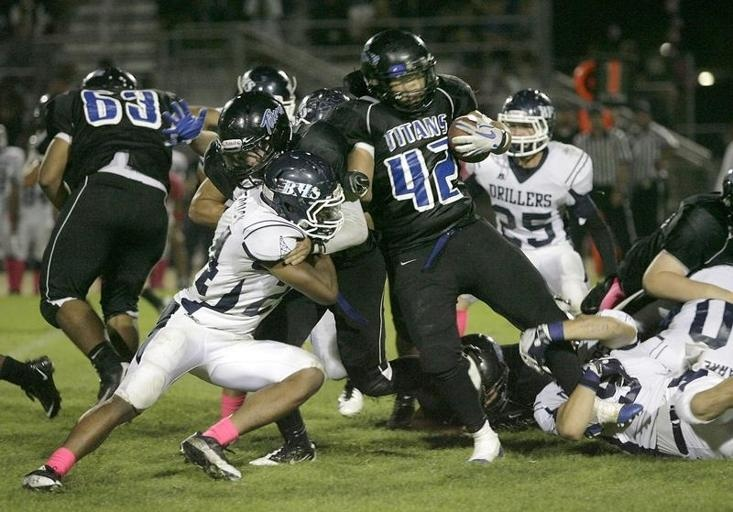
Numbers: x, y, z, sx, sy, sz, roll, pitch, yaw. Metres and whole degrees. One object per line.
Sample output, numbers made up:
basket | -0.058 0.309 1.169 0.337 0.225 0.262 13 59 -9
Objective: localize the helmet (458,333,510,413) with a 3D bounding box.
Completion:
helmet | 0.833 0.716 5.789 0.363 0.411 0.398 -9 -2 21

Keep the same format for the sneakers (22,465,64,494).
sneakers | -1.698 1.176 4.962 0.224 0.096 0.111 1 -37 28

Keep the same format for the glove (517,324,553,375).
glove | 0.966 0.532 5.400 0.196 0.263 0.125 -31 -10 -35

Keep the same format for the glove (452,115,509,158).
glove | 0.670 -0.693 5.477 0.316 0.242 0.146 -12 -18 -37

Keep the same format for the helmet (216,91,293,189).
helmet | -0.659 -0.738 5.481 0.406 0.455 0.518 5 36 25

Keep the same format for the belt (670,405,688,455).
belt | 1.738 0.974 5.208 0.059 0.227 0.137 -11 19 18

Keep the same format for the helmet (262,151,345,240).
helmet | -0.391 -0.334 5.217 0.538 0.391 0.399 12 9 -18

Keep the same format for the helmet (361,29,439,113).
helmet | 0.205 -1.100 5.527 0.418 0.374 0.473 -13 32 -12

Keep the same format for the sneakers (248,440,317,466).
sneakers | -0.495 1.146 5.467 0.402 0.144 0.138 2 -13 -8

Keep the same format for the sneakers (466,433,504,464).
sneakers | 0.688 1.102 5.353 0.237 0.139 0.114 2 -14 -43

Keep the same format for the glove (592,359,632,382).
glove | 1.385 0.642 5.277 0.171 0.143 0.068 5 -35 -8

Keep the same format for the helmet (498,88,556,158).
helmet | 1.157 -0.994 6.745 0.410 0.419 0.534 9 27 26

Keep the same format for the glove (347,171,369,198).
glove | -0.048 -0.397 5.217 0.121 0.135 0.153 -6 -7 29
